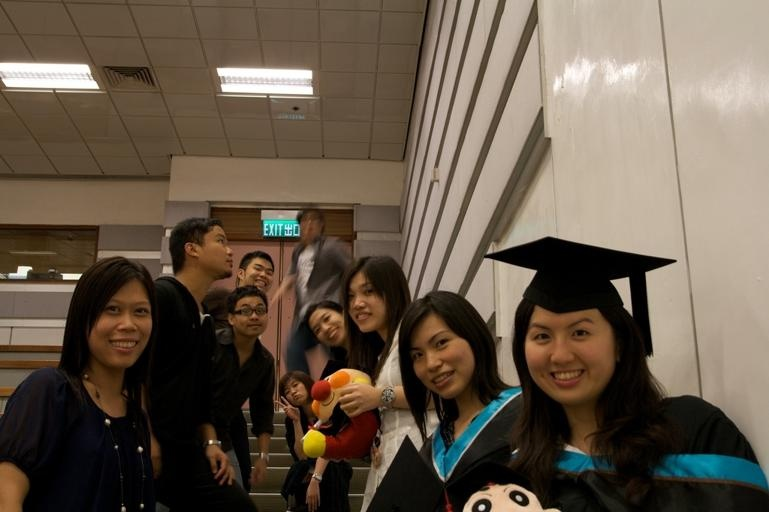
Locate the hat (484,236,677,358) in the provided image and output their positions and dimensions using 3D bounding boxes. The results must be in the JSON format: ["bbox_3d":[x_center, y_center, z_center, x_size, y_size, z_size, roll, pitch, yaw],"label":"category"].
[{"bbox_3d":[0.530,0.138,1.580,0.386,0.257,0.371,2,-12,-3],"label":"hat"}]
